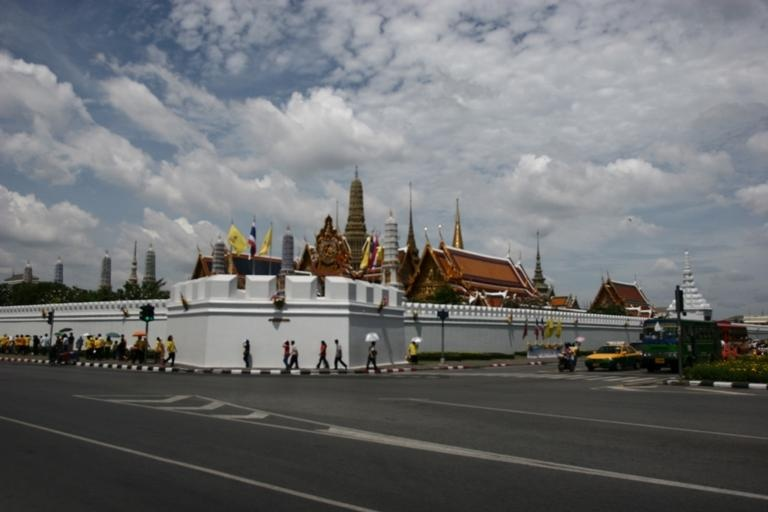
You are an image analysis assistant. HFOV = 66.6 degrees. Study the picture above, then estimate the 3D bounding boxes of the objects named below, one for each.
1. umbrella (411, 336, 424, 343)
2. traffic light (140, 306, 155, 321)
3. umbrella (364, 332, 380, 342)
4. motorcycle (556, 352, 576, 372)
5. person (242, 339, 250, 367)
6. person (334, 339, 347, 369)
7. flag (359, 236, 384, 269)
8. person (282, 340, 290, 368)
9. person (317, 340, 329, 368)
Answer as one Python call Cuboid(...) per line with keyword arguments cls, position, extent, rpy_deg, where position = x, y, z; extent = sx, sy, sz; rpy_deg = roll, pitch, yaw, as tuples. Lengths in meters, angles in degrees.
Cuboid(cls="umbrella", position=(2.091, 5.368, 37.218), extent=(1.019, 0.322, 0.968), rpy_deg=(0, -2, 3))
Cuboid(cls="traffic light", position=(-12.978, 3.123, 31.891), extent=(0.528, 0.866, 1.059), rpy_deg=(2, -7, -13))
Cuboid(cls="umbrella", position=(-0.708, 4.490, 32.204), extent=(0.675, 0.537, 1.041), rpy_deg=(-1, -7, 10))
Cuboid(cls="motorcycle", position=(10.162, 5.984, 32.219), extent=(0.689, 0.791, 1.401), rpy_deg=(-4, -20, 19))
Cuboid(cls="person", position=(-6.932, 4.906, 29.471), extent=(0.396, 1.405, 0.763), rpy_deg=(2, -7, -16))
Cuboid(cls="person", position=(-2.240, 4.989, 29.747), extent=(0.602, 1.465, 1.466), rpy_deg=(1, -7, -4))
Cuboid(cls="flag", position=(-1.199, -0.131, 56.571), extent=(0.491, 4.314, 3.984), rpy_deg=(2, 0, 18))
Cuboid(cls="person", position=(-4.934, 4.921, 29.461), extent=(0.321, 1.336, 0.975), rpy_deg=(2, -7, -10))
Cuboid(cls="person", position=(-3.107, 4.955, 29.542), extent=(0.611, 1.385, 1.331), rpy_deg=(1, -7, -6))
